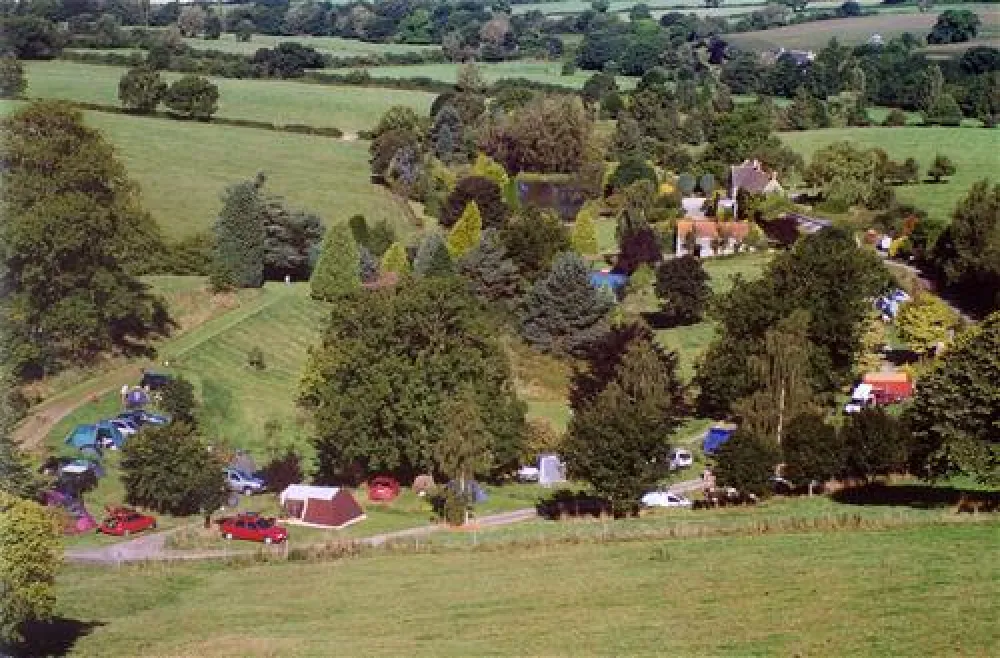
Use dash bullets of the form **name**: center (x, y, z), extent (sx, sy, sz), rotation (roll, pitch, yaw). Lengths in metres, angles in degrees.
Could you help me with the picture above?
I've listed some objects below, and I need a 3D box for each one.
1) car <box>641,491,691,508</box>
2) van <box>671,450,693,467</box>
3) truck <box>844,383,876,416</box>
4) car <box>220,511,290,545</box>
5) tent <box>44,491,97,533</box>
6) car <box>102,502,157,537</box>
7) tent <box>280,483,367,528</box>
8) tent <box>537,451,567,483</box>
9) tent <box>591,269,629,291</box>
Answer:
- **car**: center (18.732, 19.467, 190.556), extent (4.606, 1.599, 2.370), rotation (-3, 13, -5)
- **van**: center (22.028, 15.571, 200.709), extent (1.883, 1.526, 2.881), rotation (-2, 12, -7)
- **truck**: center (45.532, 9.645, 211.589), extent (3.142, 2.718, 5.583), rotation (7, 28, 30)
- **car**: center (-26.969, 21.877, 184.015), extent (5.883, 2.231, 3.471), rotation (2, 9, 6)
- **tent**: center (-47.943, 19.965, 184.668), extent (5.531, 1.800, 3.737), rotation (11, 13, 43)
- **car**: center (-41.365, 21.166, 184.639), extent (4.855, 2.854, 2.939), rotation (-5, 13, -26)
- **tent**: center (-20.826, 19.821, 187.723), extent (6.619, 2.487, 4.852), rotation (3, 5, 37)
- **tent**: center (6.236, 16.788, 199.438), extent (3.992, 4.157, 3.166), rotation (1, 5, -5)
- **tent**: center (15.985, -7.114, 248.610), extent (3.602, 0.996, 3.499), rotation (-9, 16, -42)
